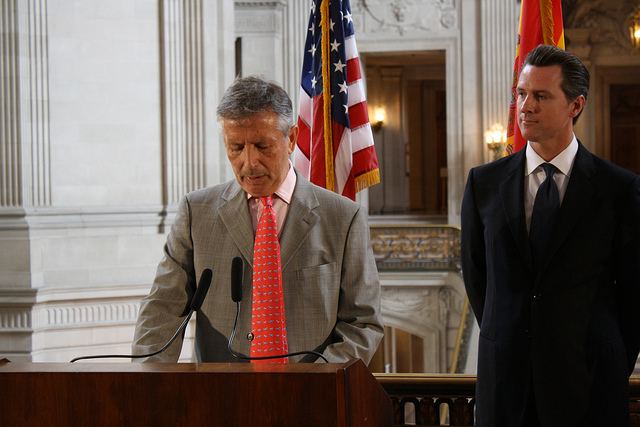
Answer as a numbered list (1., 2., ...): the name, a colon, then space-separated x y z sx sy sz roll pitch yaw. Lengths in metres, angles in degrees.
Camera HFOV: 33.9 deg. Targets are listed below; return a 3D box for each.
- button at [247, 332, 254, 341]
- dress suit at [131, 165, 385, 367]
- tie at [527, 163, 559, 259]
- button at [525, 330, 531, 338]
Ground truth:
1. button: -0.493 0.866 7.389 0.046 0.052 0.051 1 -2 -5
2. dress suit: -0.483 0.614 7.970 1.700 1.329 2.488 0 -33 -1
3. tie: 1.666 -0.005 7.638 0.190 0.842 0.088 3 33 10
4. button: 1.514 0.878 7.642 0.038 0.057 0.016 0 2 21
